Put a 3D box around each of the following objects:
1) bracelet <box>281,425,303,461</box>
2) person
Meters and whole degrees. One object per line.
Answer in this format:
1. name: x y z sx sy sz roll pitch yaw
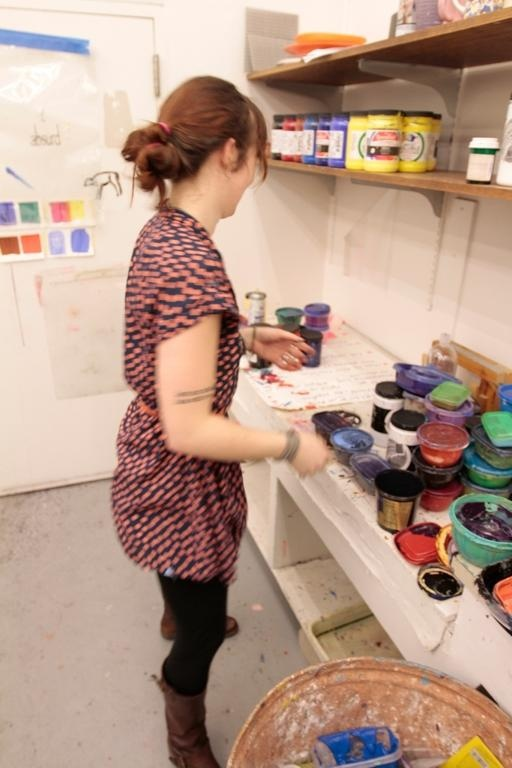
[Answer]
1. bracelet: 0.053 0.101 0.919 0.017 0.042 0.038 10 1 -1
2. person: -0.094 0.226 1.103 0.362 1.493 0.417 -5 24 -16
